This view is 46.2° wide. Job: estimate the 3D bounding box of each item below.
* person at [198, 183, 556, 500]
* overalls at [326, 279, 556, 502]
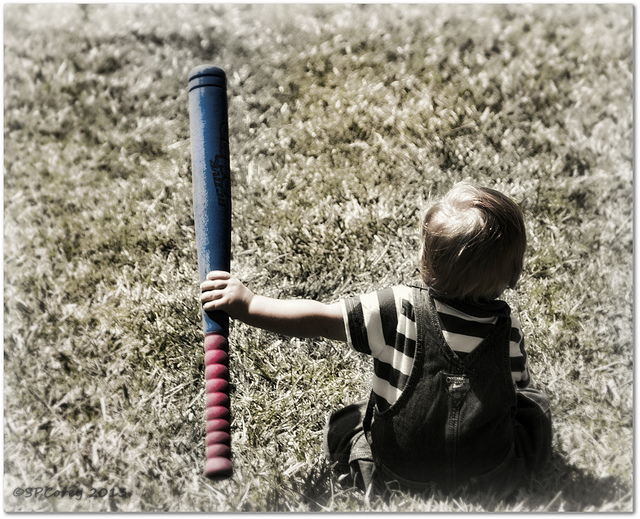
[{"bbox_3d":[0.301,0.255,2.604,1.269,1.144,0.693,-4,21,-14],"label":"person"},{"bbox_3d":[0.424,0.410,2.604,0.759,0.754,0.586,-1,12,1],"label":"overalls"}]
